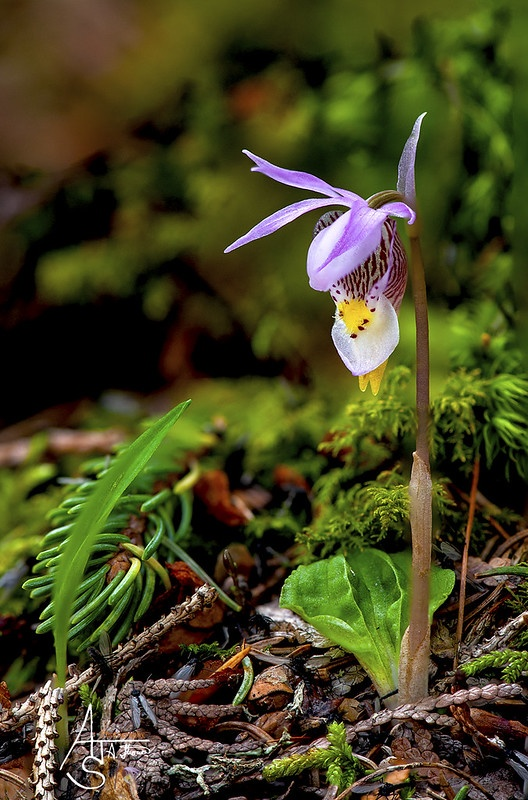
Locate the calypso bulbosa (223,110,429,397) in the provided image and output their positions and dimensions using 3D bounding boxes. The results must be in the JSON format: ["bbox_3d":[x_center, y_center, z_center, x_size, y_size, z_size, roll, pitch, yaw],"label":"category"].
[{"bbox_3d":[0.160,-0.241,1.358,0.282,0.427,0.323,-36,46,-20],"label":"calypso bulbosa"}]
